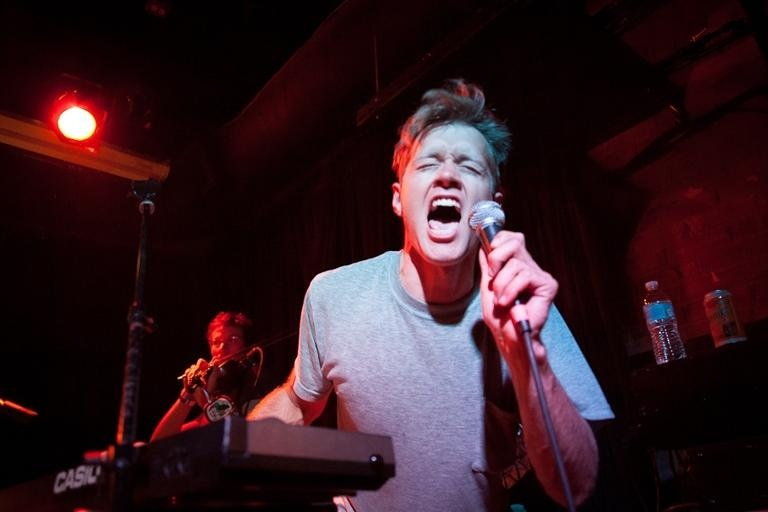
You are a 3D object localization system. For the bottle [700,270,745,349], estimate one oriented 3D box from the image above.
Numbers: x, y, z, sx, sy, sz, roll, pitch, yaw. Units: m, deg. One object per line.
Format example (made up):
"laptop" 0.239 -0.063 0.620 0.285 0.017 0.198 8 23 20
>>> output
"bottle" 2.383 0.382 3.772 0.224 0.586 0.232 3 -40 2

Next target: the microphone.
"microphone" 0.587 0.043 2.793 0.180 0.746 0.203 12 -34 -40

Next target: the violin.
"violin" -1.473 1.146 4.896 0.467 0.333 0.770 20 -50 -40
